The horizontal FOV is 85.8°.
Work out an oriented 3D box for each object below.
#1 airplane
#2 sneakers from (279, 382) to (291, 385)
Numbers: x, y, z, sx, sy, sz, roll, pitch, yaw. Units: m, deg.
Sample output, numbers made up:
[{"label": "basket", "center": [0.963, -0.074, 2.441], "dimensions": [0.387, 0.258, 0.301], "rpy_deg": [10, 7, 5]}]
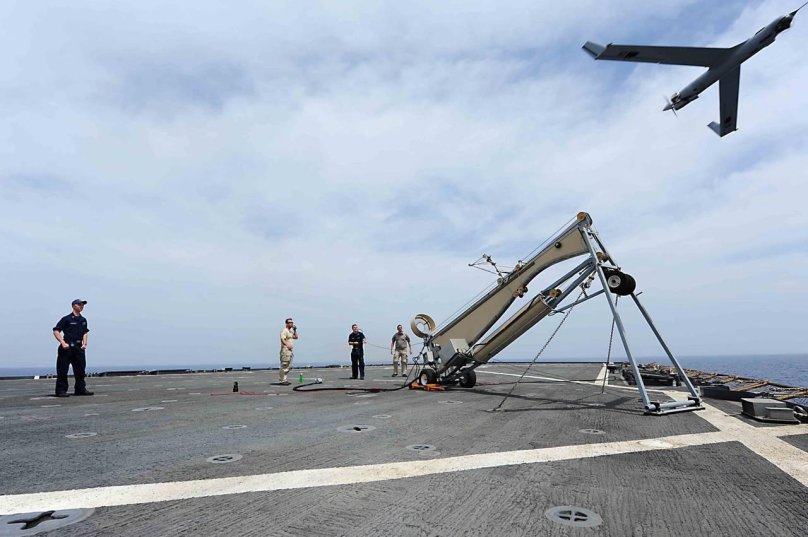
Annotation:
[{"label": "airplane", "center": [13.896, -9.100, 21.926], "dimensions": [6.561, 2.556, 7.025], "rpy_deg": [-8, -13, 27]}, {"label": "sneakers", "center": [-4.764, 4.566, 17.031], "dimensions": [0.482, 0.143, 0.159], "rpy_deg": [-10, -13, 17]}]
